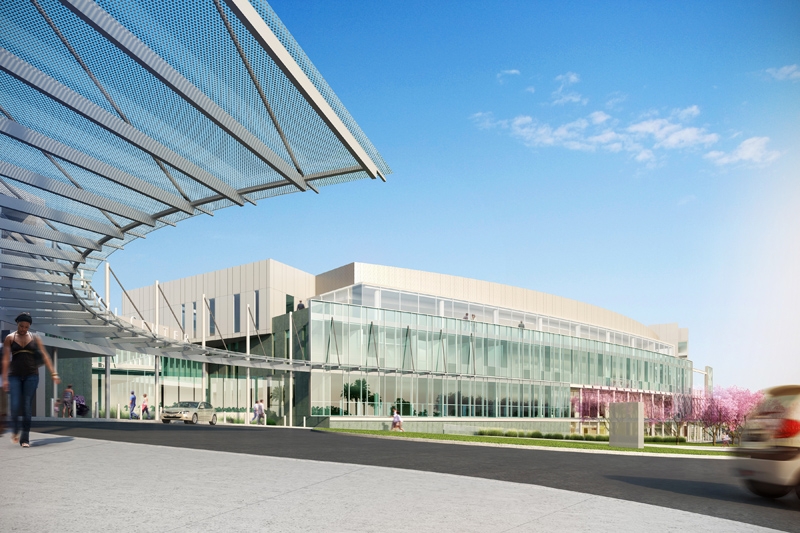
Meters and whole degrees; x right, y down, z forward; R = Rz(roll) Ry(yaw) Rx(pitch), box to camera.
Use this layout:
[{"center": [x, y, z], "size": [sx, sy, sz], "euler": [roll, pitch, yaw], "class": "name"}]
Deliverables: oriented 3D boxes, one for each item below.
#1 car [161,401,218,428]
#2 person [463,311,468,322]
[{"center": [-13.732, 9.438, 39.740], "size": [1.667, 1.412, 3.570], "euler": [-4, -15, 16], "class": "car"}, {"center": [6.683, 4.995, 61.447], "size": [0.700, 0.956, 0.512], "euler": [10, -16, -37], "class": "person"}]
